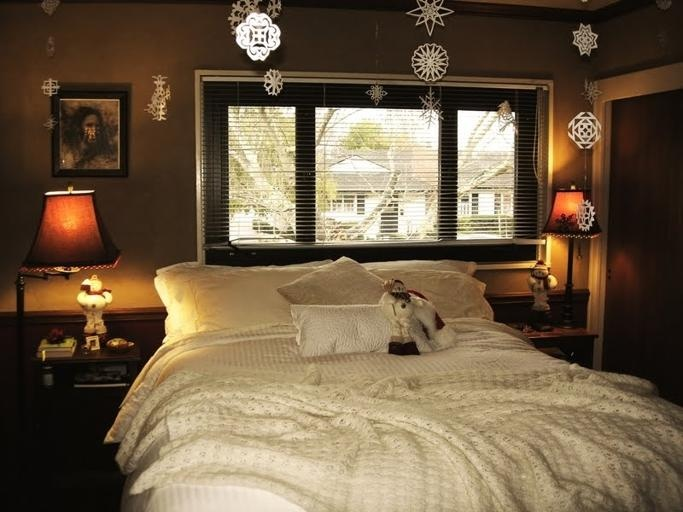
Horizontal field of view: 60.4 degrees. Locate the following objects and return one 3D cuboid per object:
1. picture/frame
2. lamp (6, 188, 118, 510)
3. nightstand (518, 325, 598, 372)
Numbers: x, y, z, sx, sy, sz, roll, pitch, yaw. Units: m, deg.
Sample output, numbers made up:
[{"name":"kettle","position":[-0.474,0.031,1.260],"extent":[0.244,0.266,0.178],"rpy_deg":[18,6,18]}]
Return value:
[{"name":"picture/frame","position":[-1.635,-0.827,3.769],"extent":[0.688,0.770,0.046],"rpy_deg":[0,1,-9]},{"name":"lamp","position":[-1.612,0.442,3.470],"extent":[0.566,1.704,0.839],"rpy_deg":[-1,4,-28]},{"name":"nightstand","position":[1.482,0.730,4.100],"extent":[0.509,0.439,0.314],"rpy_deg":[-2,7,-12]}]
